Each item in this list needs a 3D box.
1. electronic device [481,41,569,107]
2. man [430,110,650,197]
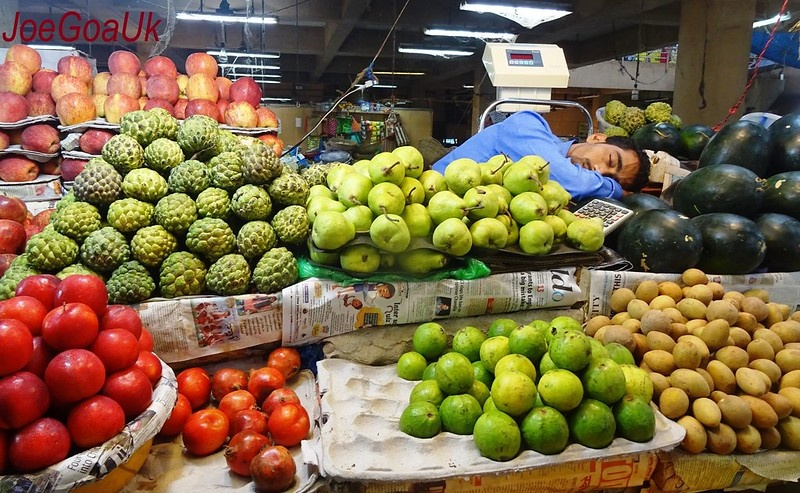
[{"bbox_3d":[1.144,-1.593,5.236,0.744,0.610,0.462,-2,14,-12],"label":"electronic device"},{"bbox_3d":[1.174,-0.868,5.142,2.004,0.890,1.340,12,17,21],"label":"man"}]
